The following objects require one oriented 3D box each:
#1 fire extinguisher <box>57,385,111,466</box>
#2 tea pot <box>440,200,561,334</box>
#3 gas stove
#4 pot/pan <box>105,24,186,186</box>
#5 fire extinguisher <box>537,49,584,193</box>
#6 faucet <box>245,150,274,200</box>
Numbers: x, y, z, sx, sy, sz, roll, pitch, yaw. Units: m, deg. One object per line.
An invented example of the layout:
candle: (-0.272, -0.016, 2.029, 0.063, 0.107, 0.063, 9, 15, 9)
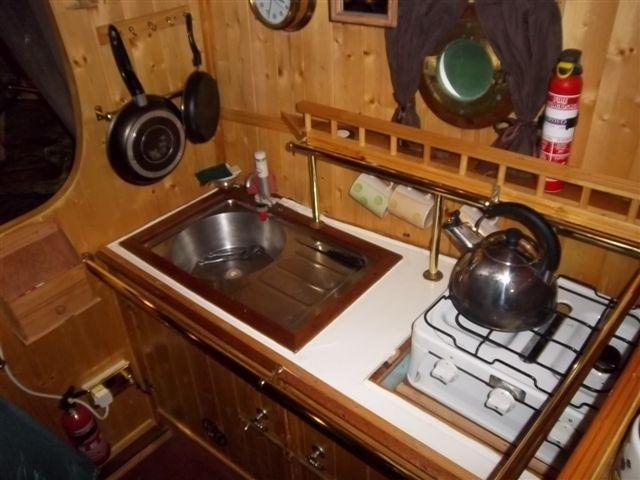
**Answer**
fire extinguisher: (-1.079, 0.831, 2.145, 0.127, 0.422, 0.141, -24, 65, -20)
tea pot: (0.512, 0.058, 1.290, 0.284, 0.361, 0.190, 13, 32, 20)
gas stove: (0.554, 0.391, 1.397, 0.464, 0.281, 0.468, 27, 53, 24)
pot/pan: (-0.685, -0.507, 1.831, 0.134, 0.600, 0.328, 13, 32, 20)
fire extinguisher: (0.670, -0.374, 1.318, 0.090, 0.296, 0.105, 12, 31, 19)
faucet: (-0.264, -0.279, 2.053, 0.114, 0.254, 0.126, 3, 30, 4)
